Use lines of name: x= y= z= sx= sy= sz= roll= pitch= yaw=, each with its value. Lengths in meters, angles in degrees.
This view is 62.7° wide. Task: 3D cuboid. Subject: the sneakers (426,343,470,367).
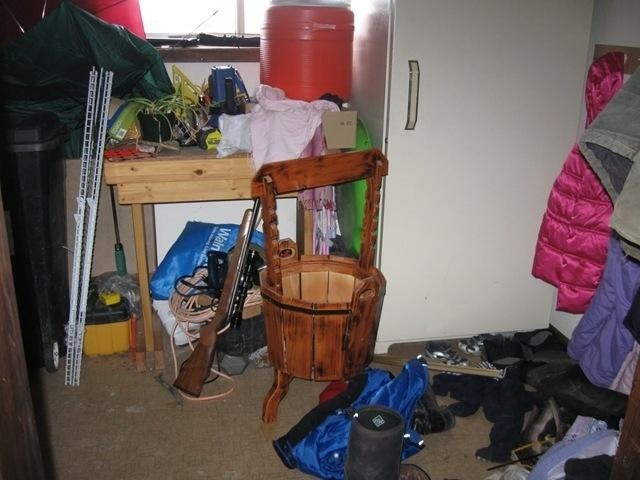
sneakers: x=0.631 y=0.571 z=2.615 sx=0.211 sy=0.095 sz=0.086 roll=5 pitch=17 yaw=11

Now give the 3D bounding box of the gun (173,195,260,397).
gun: x=-0.502 y=0.309 z=2.558 sx=0.142 sy=0.945 sz=0.083 roll=13 pitch=-15 yaw=11

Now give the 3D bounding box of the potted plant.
potted plant: x=-0.743 y=-0.610 z=2.666 sx=0.273 sy=0.218 sz=0.291 roll=1 pitch=16 yaw=-4

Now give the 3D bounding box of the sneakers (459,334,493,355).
sneakers: x=0.796 y=0.529 z=2.717 sx=0.073 sy=0.091 sz=0.186 roll=1 pitch=4 yaw=-25

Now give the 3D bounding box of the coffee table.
coffee table: x=-0.695 y=-0.098 z=2.966 sx=1.167 sy=1.089 sz=0.714 roll=-3 pitch=30 yaw=-21

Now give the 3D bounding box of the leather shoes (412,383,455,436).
leather shoes: x=0.476 y=0.715 z=2.208 sx=0.092 sy=0.282 sz=0.116 roll=-3 pitch=50 yaw=8

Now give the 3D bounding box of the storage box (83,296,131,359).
storage box: x=-1.116 y=0.476 z=2.746 sx=0.231 sy=0.312 sz=0.344 roll=-6 pitch=1 yaw=-26

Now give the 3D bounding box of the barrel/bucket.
barrel/bucket: x=0.005 y=0.087 z=2.181 sx=0.538 sy=0.902 sz=0.551 roll=-1 pitch=21 yaw=0
